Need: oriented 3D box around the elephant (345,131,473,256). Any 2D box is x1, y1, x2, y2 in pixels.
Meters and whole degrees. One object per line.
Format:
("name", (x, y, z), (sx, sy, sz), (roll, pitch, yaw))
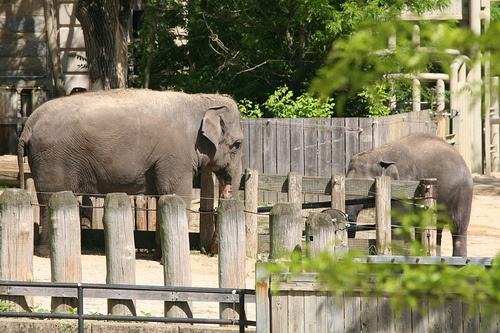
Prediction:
("elephant", (3.548, 0.539, 29.846), (2.880, 2.638, 1.156), (2, -3, -26))
